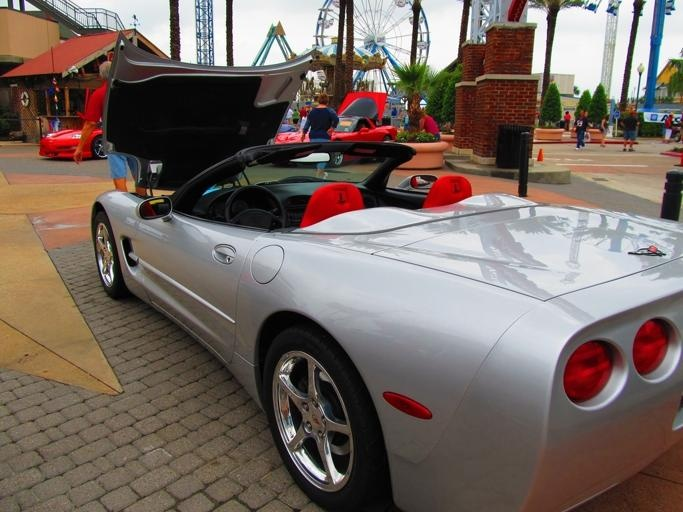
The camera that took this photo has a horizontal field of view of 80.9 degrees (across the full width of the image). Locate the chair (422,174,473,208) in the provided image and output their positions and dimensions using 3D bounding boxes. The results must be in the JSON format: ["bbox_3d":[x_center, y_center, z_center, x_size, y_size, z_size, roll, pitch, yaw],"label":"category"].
[{"bbox_3d":[0.832,-0.449,2.949,0.321,0.268,0.140,1,-13,22],"label":"chair"}]
